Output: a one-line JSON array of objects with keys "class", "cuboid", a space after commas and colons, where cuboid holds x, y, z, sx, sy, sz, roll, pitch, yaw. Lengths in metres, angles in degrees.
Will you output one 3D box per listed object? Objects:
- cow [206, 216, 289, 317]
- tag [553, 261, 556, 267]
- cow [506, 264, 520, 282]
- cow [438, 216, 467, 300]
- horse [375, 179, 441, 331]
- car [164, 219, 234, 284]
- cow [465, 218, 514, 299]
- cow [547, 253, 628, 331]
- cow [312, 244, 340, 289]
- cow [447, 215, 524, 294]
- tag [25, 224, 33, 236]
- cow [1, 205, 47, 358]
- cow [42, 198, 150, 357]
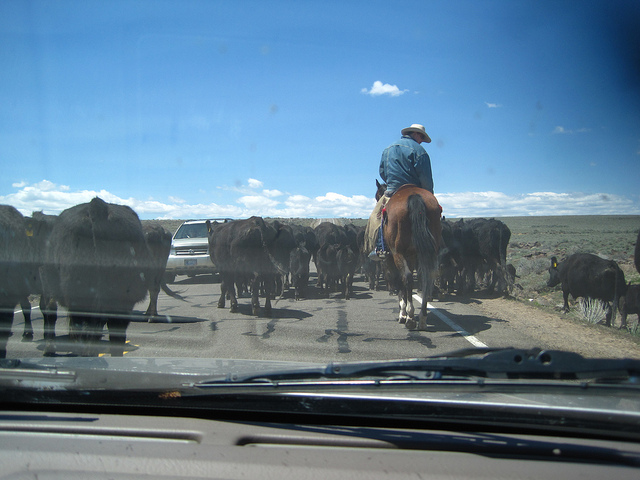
[{"class": "cow", "cuboid": [-1.494, 0.466, 10.884, 1.211, 1.923, 2.448, -1, 0, -27]}, {"class": "tag", "cuboid": [4.512, 0.483, 9.929, 0.057, 0.112, 0.059, 0, 2, 9]}, {"class": "cow", "cuboid": [4.950, 0.875, 13.409, 0.204, 0.461, 0.483, 0, 0, 15]}, {"class": "cow", "cuboid": [3.345, 0.761, 13.613, 0.294, 1.052, 1.287, 19, -26, -16]}, {"class": "horse", "cuboid": [1.611, 0.218, 8.844, 0.931, 2.335, 1.641, 0, 0, 4]}, {"class": "car", "cuboid": [-4.014, 0.235, 16.037, 1.986, 2.102, 4.172, -1, -5, -2]}, {"class": "cow", "cuboid": [4.742, 0.433, 14.360, 0.845, 1.956, 2.050, 0, 0, 0]}, {"class": "cow", "cuboid": [4.834, 0.879, 9.498, 0.573, 1.181, 2.070, -5, 4, -11]}, {"class": "cow", "cuboid": [0.204, 0.760, 14.799, 0.680, 1.272, 2.168, 0, 0, 0]}, {"class": "cow", "cuboid": [4.046, 0.535, 14.689, 3.220, 1.871, 0.822, -10, 5, 17]}, {"class": "tag", "cuboid": [-4.492, -0.150, 7.987, 0.179, 0.182, 0.043, 2, -1, -36]}, {"class": "cow", "cuboid": [-4.419, 0.603, 7.704, 0.498, 1.998, 1.037, 8, -19, -36]}, {"class": "cow", "cuboid": [-2.809, 0.434, 6.576, 1.110, 1.917, 0.752, -1, 0, -23]}]
